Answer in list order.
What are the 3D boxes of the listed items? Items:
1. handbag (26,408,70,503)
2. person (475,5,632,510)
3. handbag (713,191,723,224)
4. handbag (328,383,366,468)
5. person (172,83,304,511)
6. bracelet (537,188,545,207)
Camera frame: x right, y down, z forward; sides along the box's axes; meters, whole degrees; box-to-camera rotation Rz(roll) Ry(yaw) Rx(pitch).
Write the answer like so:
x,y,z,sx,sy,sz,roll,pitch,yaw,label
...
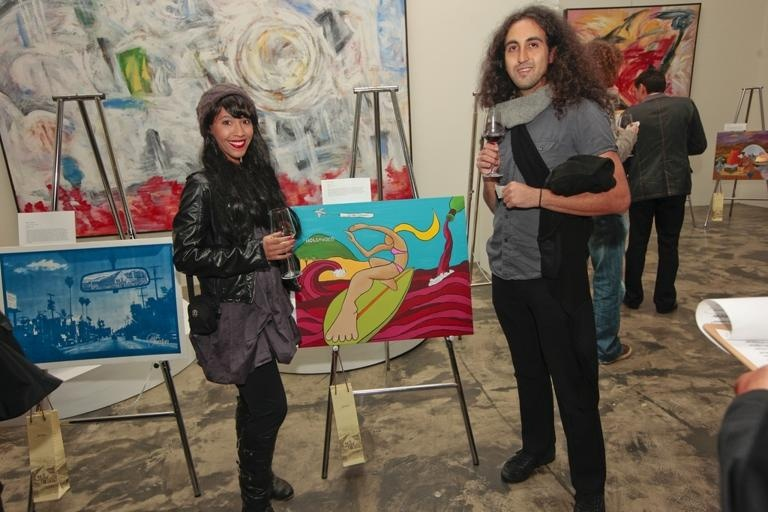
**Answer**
x,y,z,sx,sy,sz,roll,pitch,yaw,label
-2.057,1.211,3.354,0.181,0.538,0.178,-2,13,15,handbag
0.963,0.022,3.299,0.827,2.945,0.596,5,16,40,person
3.936,-0.584,6.487,0.102,0.312,0.135,0,13,23,handbag
-0.223,1.034,3.409,0.143,0.499,0.141,-8,12,-12,handbag
-0.838,0.258,3.269,0.670,2.503,0.531,-9,13,-17,person
0.884,-0.323,3.097,0.028,0.108,0.037,-9,13,-16,bracelet
